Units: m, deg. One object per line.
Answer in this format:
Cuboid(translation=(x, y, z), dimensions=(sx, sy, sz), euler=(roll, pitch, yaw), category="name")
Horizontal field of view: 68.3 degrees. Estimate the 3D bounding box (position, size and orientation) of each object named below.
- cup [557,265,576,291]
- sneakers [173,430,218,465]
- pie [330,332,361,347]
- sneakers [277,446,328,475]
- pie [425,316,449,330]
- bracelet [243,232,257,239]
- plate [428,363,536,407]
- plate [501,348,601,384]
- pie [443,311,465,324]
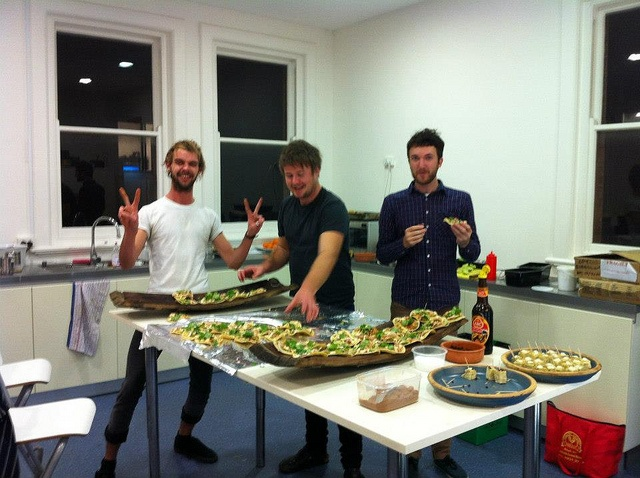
Cuboid(translation=(1.664, 0.275, 3.257), dimensions=(0.136, 0.140, 0.130), euler=(0, 5, 0), category="cup")
Cuboid(translation=(-0.832, 1.391, 3.199), dimensions=(0.327, 0.136, 0.124), euler=(7, 7, 31), category="sneakers")
Cuboid(translation=(0.108, 0.435, 2.048), dimensions=(0.059, 0.020, 0.057), euler=(-9, 19, -32), category="pie")
Cuboid(translation=(-0.110, 1.398, 3.067), dimensions=(0.296, 0.210, 0.133), euler=(3, -1, -20), category="sneakers")
Cuboid(translation=(0.532, 0.383, 2.160), dimensions=(0.064, 0.024, 0.048), euler=(-11, 13, -28), category="pie")
Cuboid(translation=(-0.448, -0.019, 3.059), dimensions=(0.060, 0.031, 0.082), euler=(2, 5, 5), category="bracelet")
Cuboid(translation=(0.586, 0.534, 1.721), dimensions=(0.378, 0.086, 0.243), euler=(1, 7, 9), category="plate")
Cuboid(translation=(0.910, 0.494, 1.841), dimensions=(0.196, 0.037, 0.203), euler=(-1, 11, 8), category="plate")
Cuboid(translation=(0.636, 0.368, 2.222), dimensions=(0.072, 0.028, 0.058), euler=(0, 11, 4), category="pie")
